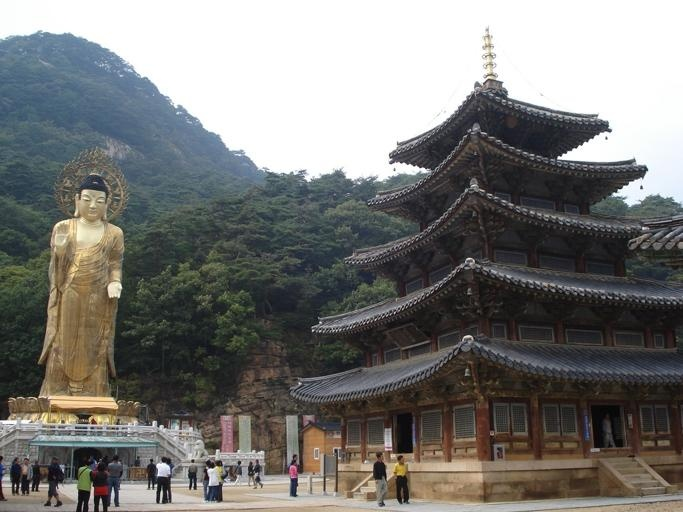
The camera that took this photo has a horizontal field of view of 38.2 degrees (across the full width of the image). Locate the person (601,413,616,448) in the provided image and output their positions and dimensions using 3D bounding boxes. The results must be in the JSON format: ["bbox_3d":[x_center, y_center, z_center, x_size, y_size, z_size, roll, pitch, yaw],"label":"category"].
[{"bbox_3d":[13.587,8.837,49.784,0.598,1.761,1.141,-3,-21,13],"label":"person"}]

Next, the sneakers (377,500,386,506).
[{"bbox_3d":[1.935,11.942,47.657,0.234,0.220,0.582,-1,-26,3],"label":"sneakers"}]

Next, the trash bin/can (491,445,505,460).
[{"bbox_3d":[7.542,9.355,46.986,0.880,0.863,0.713,0,-21,2],"label":"trash bin/can"}]
